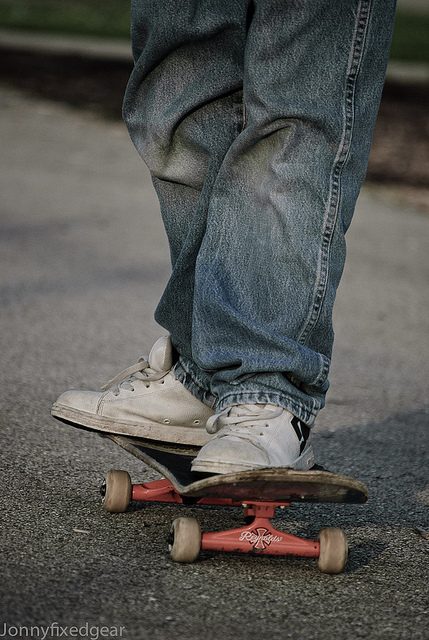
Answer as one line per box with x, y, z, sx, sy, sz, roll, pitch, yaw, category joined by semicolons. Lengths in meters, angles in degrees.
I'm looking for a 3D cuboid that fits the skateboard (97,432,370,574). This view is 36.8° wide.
0.087;0.377;1.342;0.352;0.189;0.645;4;-9;3;skateboard
